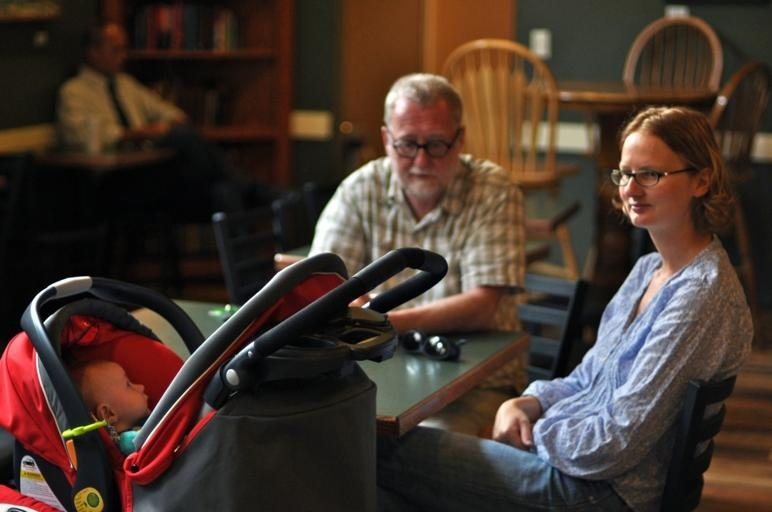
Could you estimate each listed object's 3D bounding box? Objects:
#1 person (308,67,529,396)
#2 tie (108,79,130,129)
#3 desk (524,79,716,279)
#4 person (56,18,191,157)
[{"bbox_3d":[0.078,-0.013,2.670,0.678,1.118,0.684,0,1,2],"label":"person"},{"bbox_3d":[-1.323,-0.745,3.954,0.034,0.320,0.040,20,41,41],"label":"tie"},{"bbox_3d":[1.146,-0.433,4.035,0.927,0.958,0.986,2,4,32],"label":"desk"},{"bbox_3d":[-1.331,-0.821,3.989,0.494,0.648,0.723,9,17,20],"label":"person"}]
